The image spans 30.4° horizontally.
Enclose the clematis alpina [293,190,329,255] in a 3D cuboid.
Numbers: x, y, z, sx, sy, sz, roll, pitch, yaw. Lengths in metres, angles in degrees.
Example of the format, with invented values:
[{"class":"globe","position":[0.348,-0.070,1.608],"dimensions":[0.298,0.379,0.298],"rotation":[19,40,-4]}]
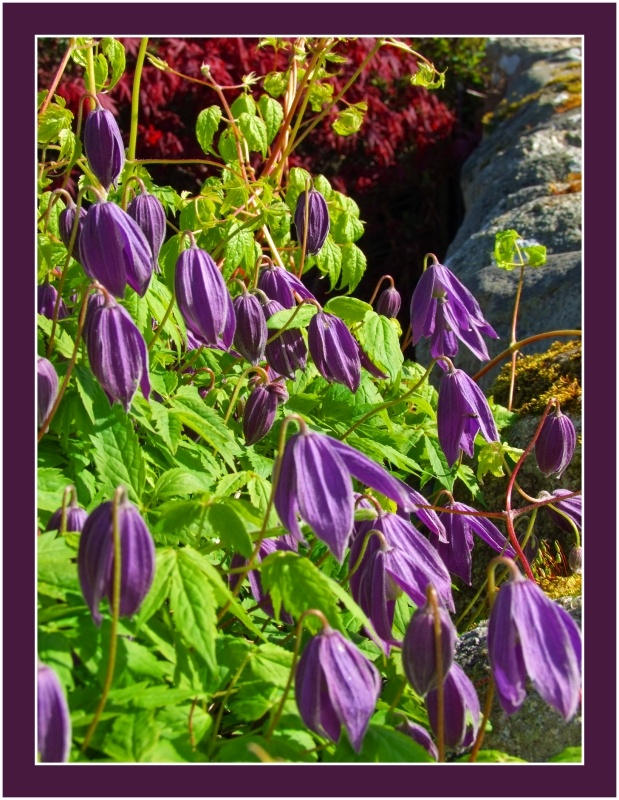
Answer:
[{"class":"clematis alpina","position":[0.004,-0.425,2.730],"dimensions":[0.080,0.154,0.337],"rotation":[2,5,-1]}]

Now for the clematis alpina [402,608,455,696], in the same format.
[{"class":"clematis alpina","position":[0.165,0.360,1.611],"dimensions":[0.054,0.151,0.085],"rotation":[-1,6,-31]}]

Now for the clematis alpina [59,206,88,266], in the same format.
[{"class":"clematis alpina","position":[-0.445,-0.339,2.201],"dimensions":[0.044,0.159,0.048],"rotation":[5,24,0]}]

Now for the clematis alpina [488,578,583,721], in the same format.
[{"class":"clematis alpina","position":[0.298,0.329,1.593],"dimensions":[0.108,0.208,0.130],"rotation":[3,5,-12]}]
